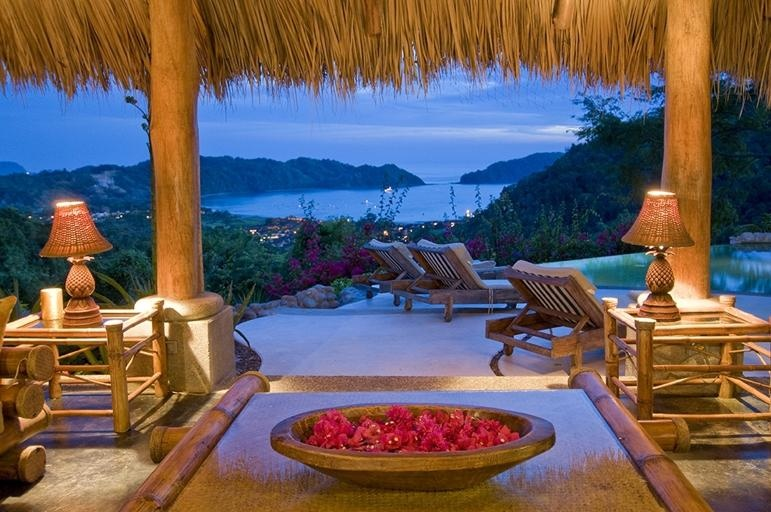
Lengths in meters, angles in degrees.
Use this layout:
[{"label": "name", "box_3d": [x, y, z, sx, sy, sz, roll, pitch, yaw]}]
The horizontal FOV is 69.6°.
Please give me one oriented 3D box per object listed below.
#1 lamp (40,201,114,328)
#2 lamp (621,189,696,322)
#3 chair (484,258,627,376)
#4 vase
[{"label": "lamp", "box_3d": [-2.454, 0.038, 4.410, 0.493, 0.940, 0.611, -9, 17, -29]}, {"label": "lamp", "box_3d": [2.195, -0.024, 4.315, 0.649, 0.941, 0.545, -5, 15, -15]}, {"label": "chair", "box_3d": [1.864, 0.566, 5.846, 1.375, 1.002, 0.869, -7, 9, -35]}, {"label": "vase", "box_3d": [0.114, 0.852, 2.476, 1.223, 0.245, 0.525, -3, 15, -9]}]
